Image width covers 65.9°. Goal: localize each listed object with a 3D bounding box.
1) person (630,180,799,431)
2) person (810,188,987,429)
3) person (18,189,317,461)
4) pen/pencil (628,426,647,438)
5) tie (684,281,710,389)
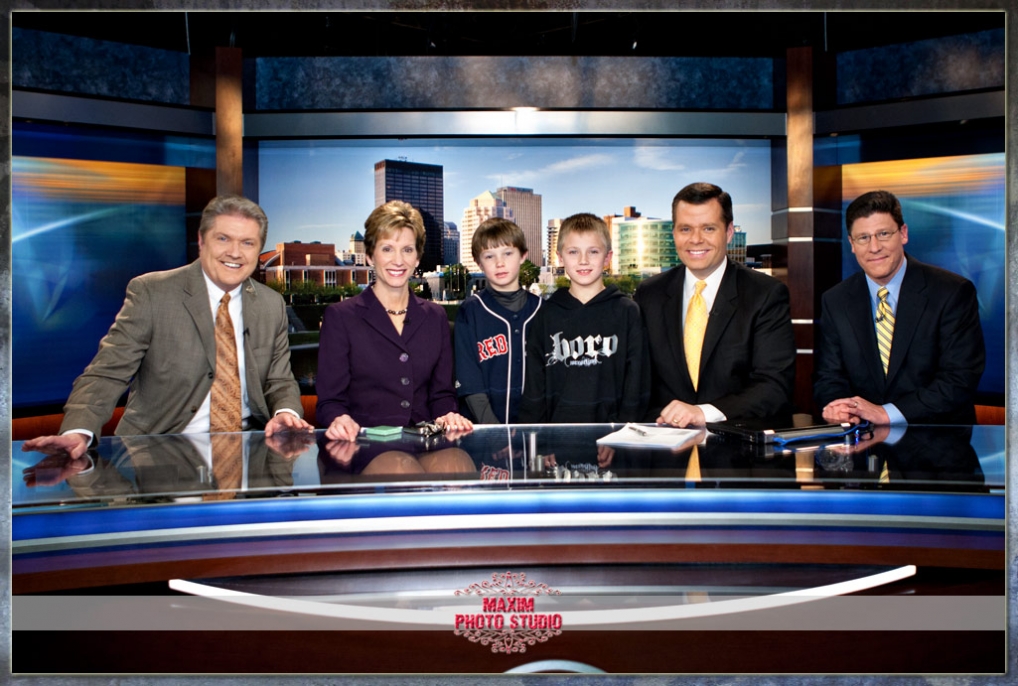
[{"bbox_3d":[0.896,-0.153,3.706,0.792,1.097,0.830,-6,6,-36],"label":"person"},{"bbox_3d":[1.869,-0.181,3.763,0.524,1.077,0.613,-5,8,-32],"label":"person"},{"bbox_3d":[-1.885,-0.136,4.079,1.493,1.531,0.920,12,0,-35],"label":"person"},{"bbox_3d":[0.478,0.324,2.880,0.021,0.018,0.076,-1,7,-16],"label":"pen/pencil"},{"bbox_3d":[0.859,-0.065,3.627,0.094,0.542,0.066,3,-15,5],"label":"tie"}]
